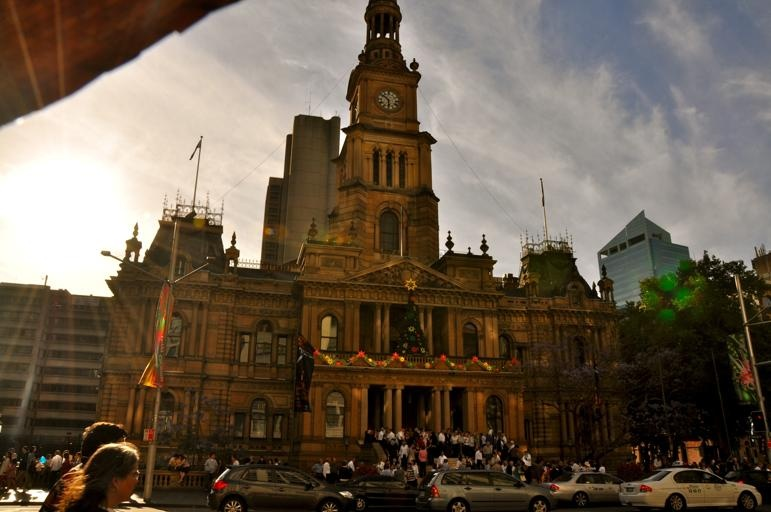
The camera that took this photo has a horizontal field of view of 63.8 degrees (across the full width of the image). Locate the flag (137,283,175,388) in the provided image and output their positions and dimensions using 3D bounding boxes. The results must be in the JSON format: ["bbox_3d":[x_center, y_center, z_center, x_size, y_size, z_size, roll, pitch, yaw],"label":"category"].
[{"bbox_3d":[-10.680,3.781,29.137,0.842,4.422,5.495,9,-24,-19],"label":"flag"}]

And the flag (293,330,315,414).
[{"bbox_3d":[-5.437,7.800,40.988,1.081,4.887,2.394,4,-23,-6],"label":"flag"}]
